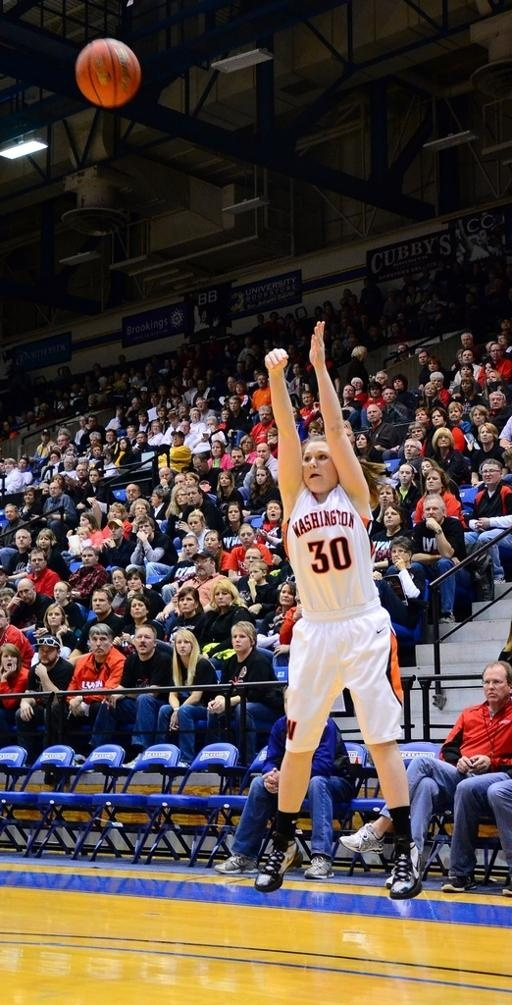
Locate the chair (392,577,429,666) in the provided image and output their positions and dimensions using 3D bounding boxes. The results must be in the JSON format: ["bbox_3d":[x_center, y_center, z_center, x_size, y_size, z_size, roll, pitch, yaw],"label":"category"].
[{"bbox_3d":[1.161,0.850,9.654,0.229,0.659,0.264,3,4,27],"label":"chair"}]

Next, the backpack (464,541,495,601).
[{"bbox_3d":[1.726,0.551,10.019,0.121,0.411,0.274,-2,0,-32],"label":"backpack"}]
